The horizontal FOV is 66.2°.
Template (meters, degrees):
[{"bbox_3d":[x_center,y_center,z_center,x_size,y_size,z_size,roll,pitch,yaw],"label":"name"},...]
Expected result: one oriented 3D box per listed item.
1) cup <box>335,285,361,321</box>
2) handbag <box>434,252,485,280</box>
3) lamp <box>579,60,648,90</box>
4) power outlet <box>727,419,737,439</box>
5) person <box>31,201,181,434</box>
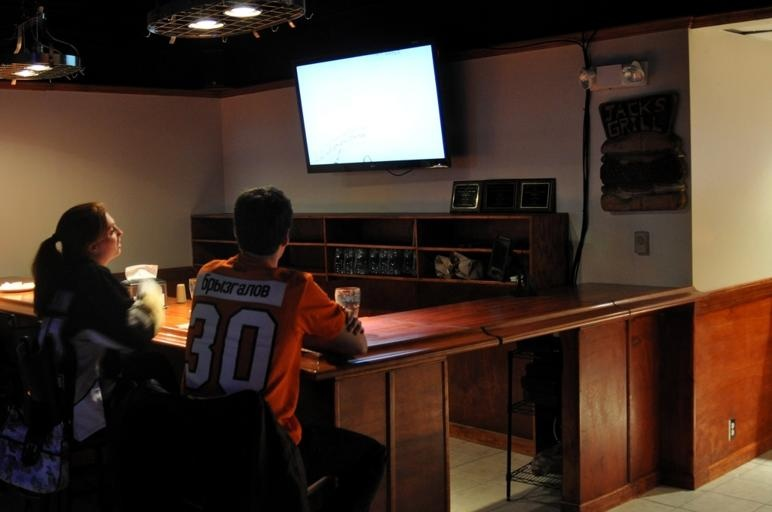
[{"bbox_3d":[-0.210,0.250,3.179,0.175,0.186,0.177,0,-3,0],"label":"cup"},{"bbox_3d":[0.626,0.086,5.014,0.304,0.222,0.146,12,26,40],"label":"handbag"},{"bbox_3d":[1.689,-1.319,4.352,0.270,0.092,0.281,3,6,41],"label":"lamp"},{"bbox_3d":[2.643,1.312,4.525,0.025,0.175,0.173,5,8,45],"label":"power outlet"},{"bbox_3d":[-1.510,0.353,3.112,0.547,1.158,0.626,-8,18,-37],"label":"person"}]
